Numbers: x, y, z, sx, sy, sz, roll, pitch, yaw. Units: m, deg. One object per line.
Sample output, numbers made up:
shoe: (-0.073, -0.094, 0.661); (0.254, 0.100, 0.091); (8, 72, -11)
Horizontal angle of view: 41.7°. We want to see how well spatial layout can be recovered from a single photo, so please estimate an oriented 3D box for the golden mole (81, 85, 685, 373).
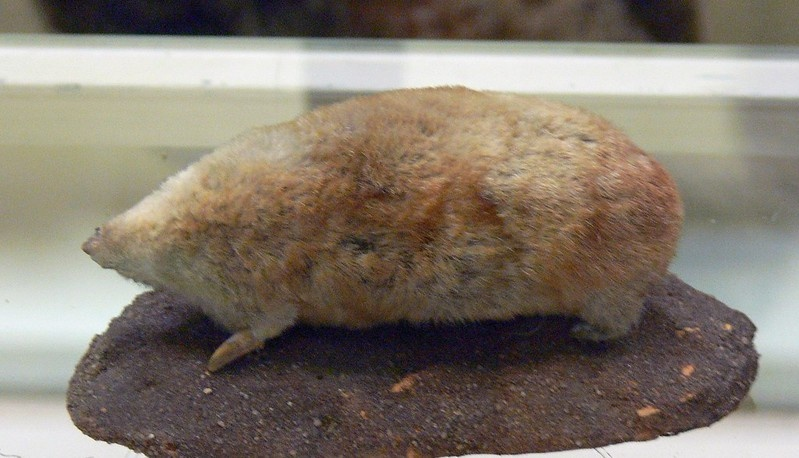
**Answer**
golden mole: (0.003, 0.030, 4.318); (2.219, 0.734, 0.711); (-6, 42, 0)
